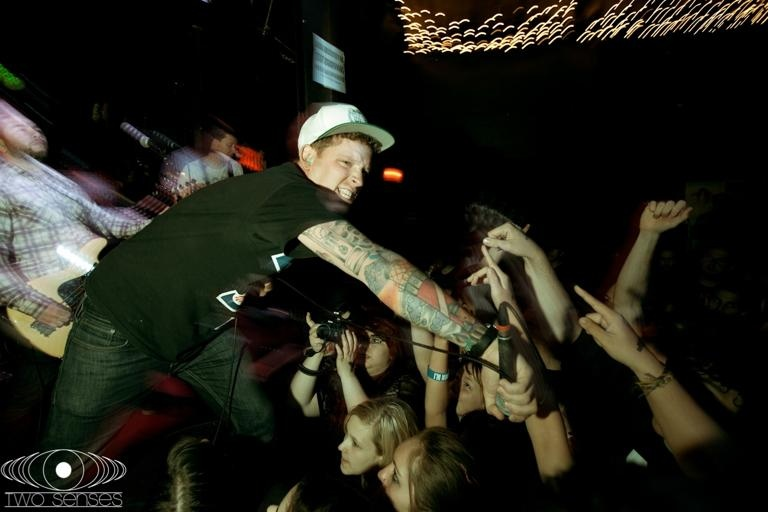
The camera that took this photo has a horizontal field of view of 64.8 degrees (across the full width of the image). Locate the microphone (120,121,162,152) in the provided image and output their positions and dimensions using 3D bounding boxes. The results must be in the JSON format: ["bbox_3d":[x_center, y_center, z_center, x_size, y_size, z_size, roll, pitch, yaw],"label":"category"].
[{"bbox_3d":[-3.765,-1.833,9.321,0.857,0.122,0.147,34,4,32],"label":"microphone"}]
